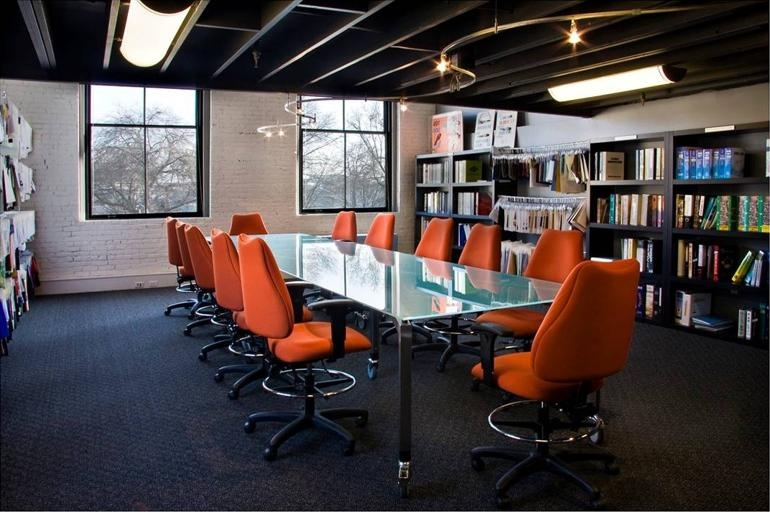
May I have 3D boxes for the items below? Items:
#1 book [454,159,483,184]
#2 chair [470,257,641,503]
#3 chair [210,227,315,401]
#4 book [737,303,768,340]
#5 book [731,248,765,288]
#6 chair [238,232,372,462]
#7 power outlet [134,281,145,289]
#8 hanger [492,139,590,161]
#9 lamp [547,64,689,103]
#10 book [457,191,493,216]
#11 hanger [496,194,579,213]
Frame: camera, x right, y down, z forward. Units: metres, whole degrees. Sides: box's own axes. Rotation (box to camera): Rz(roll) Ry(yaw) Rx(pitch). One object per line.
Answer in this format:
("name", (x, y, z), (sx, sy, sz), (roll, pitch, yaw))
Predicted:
("book", (1.421, -1.362, 9.039), (0.546, 0.490, 0.386), (0, 3, -29))
("chair", (1.089, 0.736, 3.405), (0.972, 1.541, 0.818), (3, 15, 10))
("chair", (-0.894, 0.528, 4.602), (1.018, 1.324, 1.160), (4, -1, -21))
("book", (4.002, 0.705, 5.736), (0.395, 0.376, 0.106), (3, -2, -39))
("book", (3.870, 0.152, 5.737), (0.132, 0.401, 0.305), (11, 21, -1))
("chair", (-0.636, 0.593, 3.967), (0.920, 1.592, 1.044), (-2, 15, -9))
("power outlet", (-3.933, 0.464, 8.415), (0.139, 0.118, 0.033), (4, -2, -6))
("hanger", (2.226, -1.524, 7.651), (0.207, 0.320, 1.608), (-10, 17, -33))
("lamp", (2.435, -1.845, 5.643), (0.489, 0.286, 1.213), (-11, 18, -38))
("book", (1.456, -0.864, 8.798), (0.215, 0.385, 0.844), (-12, 18, -37))
("hanger", (2.234, -0.767, 7.680), (0.254, 0.292, 1.395), (-12, 18, -38))
